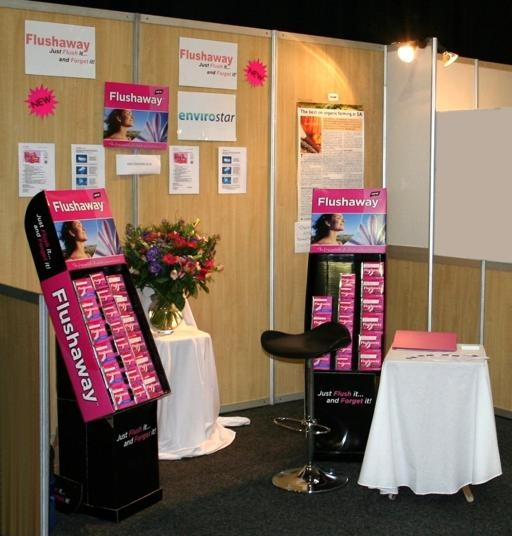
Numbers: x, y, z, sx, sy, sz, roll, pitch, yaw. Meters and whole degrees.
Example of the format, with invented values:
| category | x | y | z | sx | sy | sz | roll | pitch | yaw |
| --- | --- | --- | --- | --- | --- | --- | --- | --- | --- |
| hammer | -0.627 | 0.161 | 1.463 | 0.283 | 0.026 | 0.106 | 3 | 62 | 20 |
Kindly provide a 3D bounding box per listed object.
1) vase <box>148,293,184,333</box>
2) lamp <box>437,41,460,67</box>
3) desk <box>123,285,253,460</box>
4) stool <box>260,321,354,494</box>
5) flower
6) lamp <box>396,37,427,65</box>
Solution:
| category | x | y | z | sx | sy | sz | roll | pitch | yaw |
| --- | --- | --- | --- | --- | --- | --- | --- | --- | --- |
| vase | -0.537 | 0.295 | 3.313 | 0.209 | 0.262 | 0.202 | -3 | 10 | -38 |
| lamp | 1.500 | -1.620 | 4.203 | 0.091 | 0.138 | 0.344 | 3 | 4 | 40 |
| desk | -0.161 | 0.628 | 3.588 | 0.754 | 0.918 | 0.726 | -20 | -12 | 18 |
| stool | 0.271 | 0.728 | 3.147 | 0.478 | 0.852 | 1.039 | 0 | 3 | 2 |
| flower | -0.477 | 0.013 | 3.302 | 0.609 | 0.673 | 0.664 | 2 | 6 | 21 |
| lamp | 1.169 | -1.677 | 4.143 | 0.151 | 0.198 | 0.078 | 7 | 35 | -7 |
